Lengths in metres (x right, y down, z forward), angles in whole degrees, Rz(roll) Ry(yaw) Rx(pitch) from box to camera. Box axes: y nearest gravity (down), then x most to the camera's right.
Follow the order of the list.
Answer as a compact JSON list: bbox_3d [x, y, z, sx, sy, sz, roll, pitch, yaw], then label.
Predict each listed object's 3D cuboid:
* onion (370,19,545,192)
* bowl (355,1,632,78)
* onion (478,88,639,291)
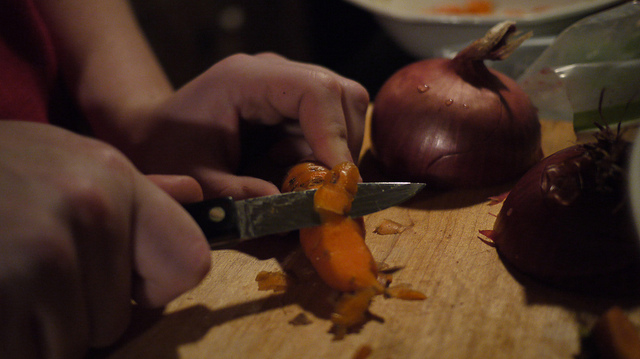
[{"bbox_3d":[0.377,-0.247,1.664,0.454,0.408,0.431,-17,43,-33],"label":"onion"},{"bbox_3d":[0.545,-0.435,1.760,0.413,0.121,0.434,-6,16,2],"label":"bowl"},{"bbox_3d":[0.561,0.092,1.327,0.304,0.262,0.295,-9,53,-4],"label":"onion"}]
